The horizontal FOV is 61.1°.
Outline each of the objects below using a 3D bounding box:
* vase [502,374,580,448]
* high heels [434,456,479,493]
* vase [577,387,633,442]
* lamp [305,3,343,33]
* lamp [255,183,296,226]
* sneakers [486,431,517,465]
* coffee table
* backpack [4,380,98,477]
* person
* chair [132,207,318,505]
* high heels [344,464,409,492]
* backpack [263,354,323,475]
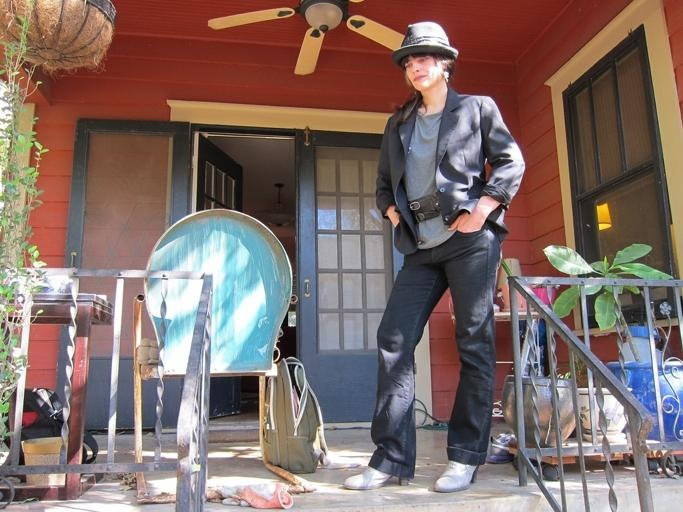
[{"bbox_3d":[0.896,0.729,2.742,0.310,0.311,0.340,3,-20,-4],"label":"vase"},{"bbox_3d":[0.479,0.920,2.405,0.086,0.114,0.241,-8,-19,34],"label":"high heels"},{"bbox_3d":[1.246,0.753,2.754,0.202,0.271,0.524,-5,-10,25],"label":"vase"},{"bbox_3d":[-0.120,-1.552,3.783,0.256,0.104,0.208,-4,-10,21],"label":"lamp"},{"bbox_3d":[-1.029,-0.744,9.152,0.524,0.591,0.565,3,-16,-8],"label":"lamp"},{"bbox_3d":[0.868,1.035,3.108,0.125,0.118,0.269,-3,-20,23],"label":"sneakers"},{"bbox_3d":[-1.275,0.607,2.580,0.418,0.853,0.820,3,-10,-21],"label":"coffee table"},{"bbox_3d":[-1.427,0.882,3.013,0.461,0.471,0.358,0,-3,-14],"label":"backpack"},{"bbox_3d":[0.435,-0.026,2.553,0.746,2.016,0.451,-4,-10,19],"label":"person"},{"bbox_3d":[-0.551,0.406,2.644,0.768,1.256,0.740,3,-10,-20],"label":"chair"},{"bbox_3d":[0.160,0.938,2.492,0.283,0.091,0.110,6,-11,-18],"label":"high heels"},{"bbox_3d":[-0.249,0.794,3.161,0.416,0.729,0.543,-1,-5,-1],"label":"backpack"}]
